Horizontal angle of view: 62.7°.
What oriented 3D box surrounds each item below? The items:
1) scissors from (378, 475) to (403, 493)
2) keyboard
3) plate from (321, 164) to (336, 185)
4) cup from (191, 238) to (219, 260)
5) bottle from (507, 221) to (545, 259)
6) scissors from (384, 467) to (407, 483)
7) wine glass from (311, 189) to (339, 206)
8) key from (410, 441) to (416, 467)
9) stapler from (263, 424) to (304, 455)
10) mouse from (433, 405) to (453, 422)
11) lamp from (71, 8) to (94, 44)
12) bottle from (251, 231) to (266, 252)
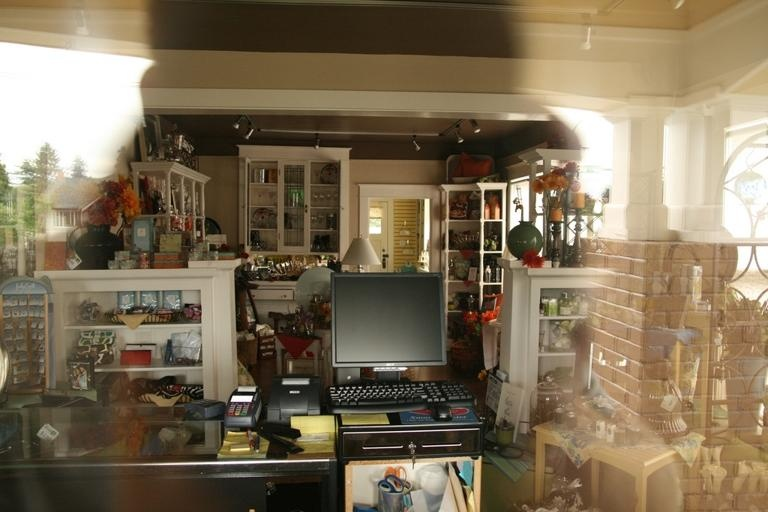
[{"bbox_3d":[0.024,0.907,2.511,0.080,0.027,0.057,1,-1,37],"label":"scissors"},{"bbox_3d":[0.066,0.564,2.583,0.589,0.121,0.184,-1,-1,-1],"label":"keyboard"},{"bbox_3d":[-0.561,-0.846,6.518,0.193,0.184,0.045,-2,1,1],"label":"plate"},{"bbox_3d":[-1.062,-0.042,3.732,0.137,0.135,0.144,0,4,0],"label":"cup"},{"bbox_3d":[0.836,-0.102,3.745,0.217,0.248,0.220,1,4,17],"label":"bottle"},{"bbox_3d":[0.049,0.886,2.587,0.073,0.068,0.052,13,-8,14],"label":"scissors"},{"bbox_3d":[-0.602,-0.606,6.449,0.269,0.173,0.060,-2,2,-8],"label":"wine glass"},{"bbox_3d":[0.113,0.767,2.485,0.024,0.086,0.034,-1,-1,3],"label":"key"},{"bbox_3d":[-0.401,0.719,2.489,0.137,0.032,0.086,18,41,16],"label":"stapler"},{"bbox_3d":[0.229,0.615,2.484,0.074,0.069,0.055,0,-16,-9],"label":"mouse"},{"bbox_3d":[-1.106,-0.846,2.313,0.065,0.135,0.054,-1,-1,-16],"label":"lamp"},{"bbox_3d":[-1.275,-0.161,6.373,0.201,0.274,0.089,1,-7,-16],"label":"bottle"}]
